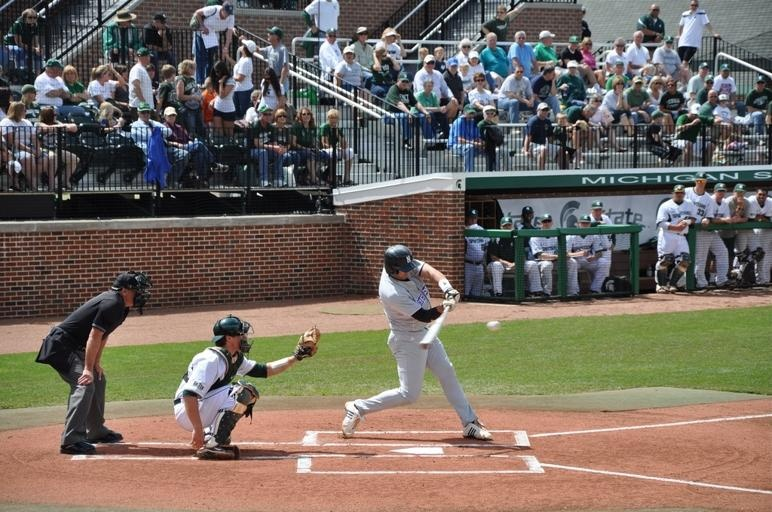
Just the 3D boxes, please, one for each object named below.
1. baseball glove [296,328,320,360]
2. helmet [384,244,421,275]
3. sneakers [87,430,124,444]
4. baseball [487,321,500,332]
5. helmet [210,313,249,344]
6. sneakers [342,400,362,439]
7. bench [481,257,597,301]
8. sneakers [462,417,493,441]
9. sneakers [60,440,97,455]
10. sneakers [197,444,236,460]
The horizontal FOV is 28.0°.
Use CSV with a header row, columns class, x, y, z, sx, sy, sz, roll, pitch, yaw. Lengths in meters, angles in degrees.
class,x,y,z,sx,sy,sz,roll,pitch,yaw
baseball glove,-1.213,1.384,25.019,0.388,0.238,0.682,-22,22,11
helmet,0.245,0.044,25.080,0.520,0.287,0.384,2,36,19
sneakers,-4.544,2.917,25.142,0.517,0.203,0.197,-7,11,-14
baseball,1.785,1.136,25.705,0.225,0.110,0.209,-2,5,14
helmet,-2.470,1.153,24.678,0.571,0.357,0.390,-10,19,-17
sneakers,-0.557,2.649,25.479,0.301,0.658,0.242,10,13,-3
bench,3.538,0.423,35.298,2.465,1.016,0.362,-3,14,-13
sneakers,1.466,2.852,25.326,0.557,0.264,0.259,1,3,22
sneakers,-4.896,3.033,24.628,0.463,0.184,0.230,0,6,-4
sneakers,-2.656,3.108,24.555,0.523,0.223,0.250,10,0,-3
